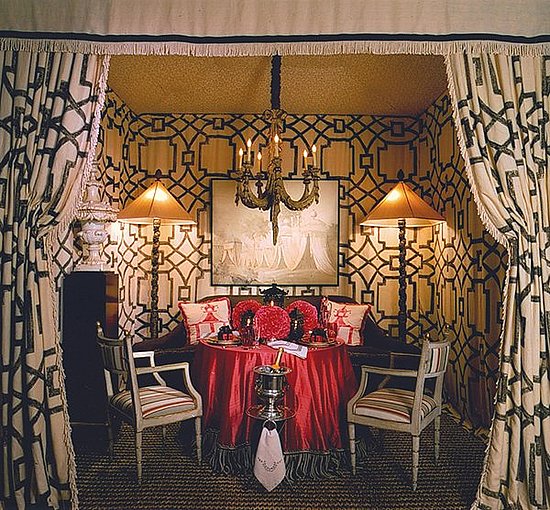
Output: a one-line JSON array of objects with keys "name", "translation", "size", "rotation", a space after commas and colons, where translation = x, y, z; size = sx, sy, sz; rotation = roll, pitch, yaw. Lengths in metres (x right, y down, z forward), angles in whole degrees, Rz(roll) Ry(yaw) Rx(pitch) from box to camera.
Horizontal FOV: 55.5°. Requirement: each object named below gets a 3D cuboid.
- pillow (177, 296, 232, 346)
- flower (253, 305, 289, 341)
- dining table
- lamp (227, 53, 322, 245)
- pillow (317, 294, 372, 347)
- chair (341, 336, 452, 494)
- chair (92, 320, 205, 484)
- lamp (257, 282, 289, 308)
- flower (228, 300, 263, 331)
[{"name": "pillow", "translation": [-0.641, 0.586, 4.765], "size": [0.385, 0.412, 0.130], "rotation": [-3, -24, -41]}, {"name": "flower", "translation": [-0.020, 0.469, 3.557], "size": [0.204, 0.264, 0.184], "rotation": [0, -3, -10]}, {"name": "dining table", "translation": [0.032, 1.041, 3.931], "size": [1.153, 0.946, 1.242], "rotation": [5, 3, 30]}, {"name": "lamp", "translation": [0.001, -0.817, 3.629], "size": [0.469, 1.425, 0.491], "rotation": [4, 14, 16]}, {"name": "pillow", "translation": [0.570, 0.556, 4.648], "size": [0.446, 0.525, 0.142], "rotation": [-2, -18, 34]}, {"name": "chair", "translation": [0.850, 0.996, 3.529], "size": [0.525, 0.995, 0.539], "rotation": [2, 4, 33]}, {"name": "chair", "translation": [-0.853, 0.932, 3.560], "size": [0.558, 1.036, 0.615], "rotation": [3, 6, 34]}, {"name": "lamp", "translation": [-0.014, 0.319, 4.084], "size": [0.149, 0.183, 0.186], "rotation": [1, 1, 4]}, {"name": "flower", "translation": [-0.209, 0.413, 3.847], "size": [0.269, 0.182, 0.254], "rotation": [-2, -14, -32]}]
